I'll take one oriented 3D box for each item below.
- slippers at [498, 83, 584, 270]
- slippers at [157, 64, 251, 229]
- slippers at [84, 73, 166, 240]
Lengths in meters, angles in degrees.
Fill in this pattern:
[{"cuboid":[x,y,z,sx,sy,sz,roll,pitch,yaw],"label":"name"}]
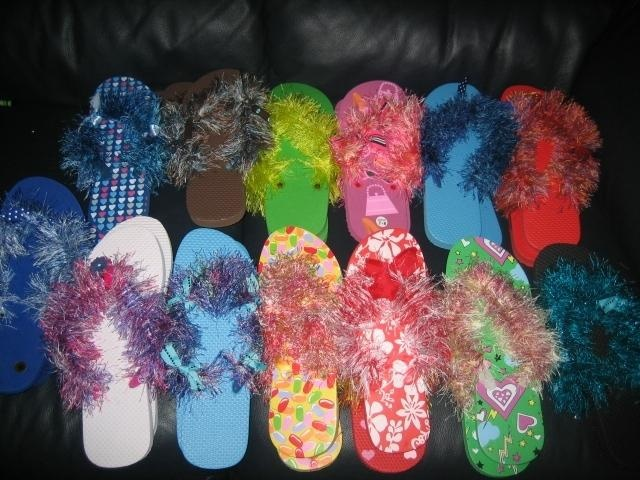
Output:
[{"cuboid":[1.013,-0.271,3.136,0.276,0.092,0.844,2,82,2],"label":"slippers"},{"cuboid":[-0.475,-0.394,2.974,0.288,0.196,0.815,-3,95,-1],"label":"slippers"},{"cuboid":[-0.872,-0.366,3.069,0.328,0.119,0.725,2,90,-1],"label":"slippers"}]
